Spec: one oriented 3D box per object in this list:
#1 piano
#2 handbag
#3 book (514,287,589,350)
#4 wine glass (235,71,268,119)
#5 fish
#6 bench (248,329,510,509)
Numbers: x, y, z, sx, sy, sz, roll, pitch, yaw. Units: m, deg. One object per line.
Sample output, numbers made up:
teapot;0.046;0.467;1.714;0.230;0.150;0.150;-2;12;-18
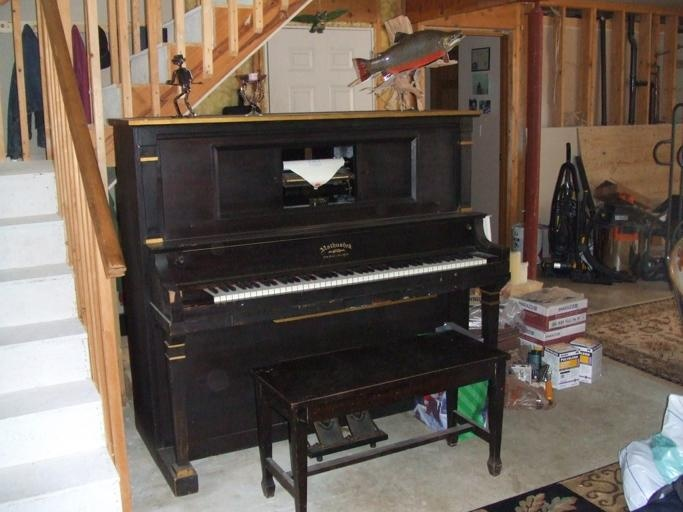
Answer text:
piano;-0.131;0.117;4.040;2.146;2.016;1.119;-7;13;-25
handbag;0.644;0.745;3.689;0.320;0.617;0.326;-21;37;-14
book;1.597;0.554;4.902;0.626;0.423;0.348;-13;21;-28
wine glass;-0.532;-0.960;3.798;0.208;0.266;0.224;-1;25;-5
fish;0.388;-1.205;3.877;0.643;0.287;0.393;0;19;11
bench;0.231;0.913;3.564;1.387;0.760;0.515;-10;19;-19
